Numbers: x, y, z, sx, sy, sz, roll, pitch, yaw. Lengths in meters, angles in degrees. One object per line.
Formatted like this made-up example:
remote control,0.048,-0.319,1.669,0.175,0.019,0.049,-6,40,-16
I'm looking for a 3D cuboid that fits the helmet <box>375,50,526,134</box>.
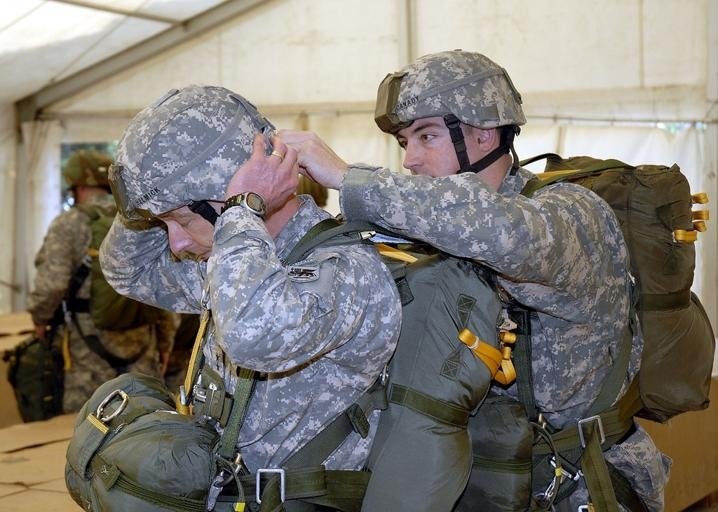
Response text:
helmet,0.474,-0.852,6.189,0.588,0.352,0.467,1,4,1
